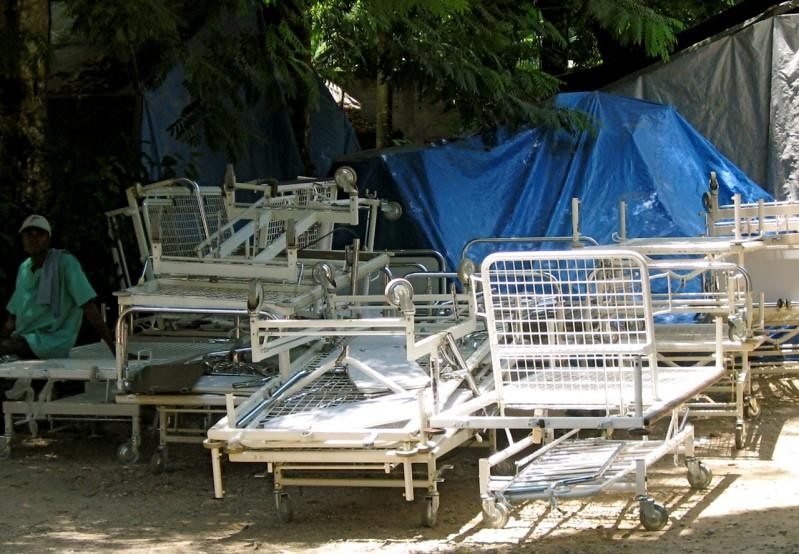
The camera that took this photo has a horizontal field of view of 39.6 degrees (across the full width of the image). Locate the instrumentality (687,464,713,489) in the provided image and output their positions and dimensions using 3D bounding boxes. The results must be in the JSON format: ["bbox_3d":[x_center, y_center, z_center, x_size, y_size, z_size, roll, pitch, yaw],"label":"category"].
[{"bbox_3d":[2.604,1.754,9.707,0.241,0.194,0.227,2,9,28],"label":"instrumentality"}]

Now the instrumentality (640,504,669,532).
[{"bbox_3d":[2.032,1.933,8.847,0.285,0.252,0.146,-3,8,5],"label":"instrumentality"}]

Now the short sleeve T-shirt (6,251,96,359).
[{"bbox_3d":[-3.613,0.311,11.396,1.290,1.067,0.719,-3,-6,42],"label":"short sleeve T-shirt"}]
